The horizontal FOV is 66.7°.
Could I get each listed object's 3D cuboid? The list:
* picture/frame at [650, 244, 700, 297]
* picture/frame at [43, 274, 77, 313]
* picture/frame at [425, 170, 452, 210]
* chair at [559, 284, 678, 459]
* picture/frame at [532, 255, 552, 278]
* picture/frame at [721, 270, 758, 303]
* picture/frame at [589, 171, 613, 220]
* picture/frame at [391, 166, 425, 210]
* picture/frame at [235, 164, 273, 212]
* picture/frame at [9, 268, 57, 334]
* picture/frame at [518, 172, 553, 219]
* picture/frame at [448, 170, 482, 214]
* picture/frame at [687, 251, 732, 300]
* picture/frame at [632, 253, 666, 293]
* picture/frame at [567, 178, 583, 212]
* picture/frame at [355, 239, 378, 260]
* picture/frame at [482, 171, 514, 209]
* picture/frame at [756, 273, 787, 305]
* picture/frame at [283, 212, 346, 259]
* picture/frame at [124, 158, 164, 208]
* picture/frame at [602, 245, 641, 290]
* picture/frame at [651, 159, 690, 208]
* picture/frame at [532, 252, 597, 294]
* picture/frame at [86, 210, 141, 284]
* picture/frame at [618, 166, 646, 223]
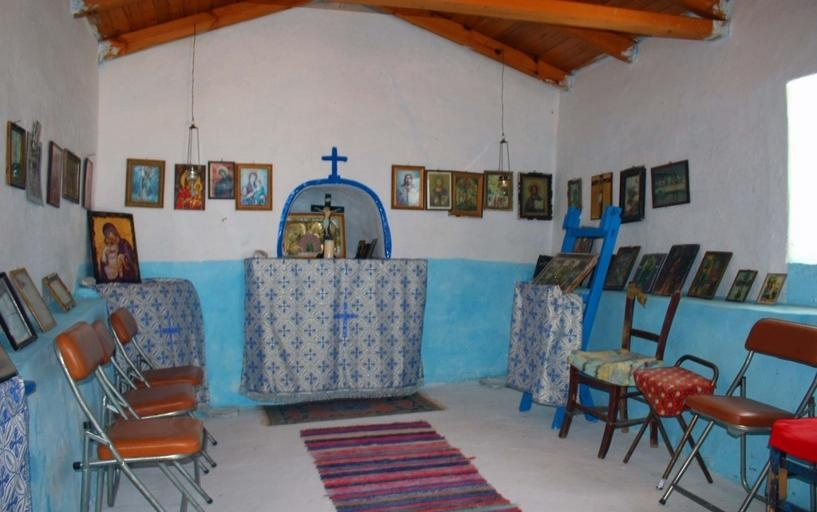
[{"bbox_3d":[2.779,0.162,6.396,0.069,0.697,0.498,28,-3,-14],"label":"picture/frame"},{"bbox_3d":[-3.080,0.325,5.438,0.042,0.256,0.218,-21,36,10],"label":"picture/frame"},{"bbox_3d":[0.359,-0.820,7.722,0.443,0.642,0.061,2,1,-17],"label":"picture/frame"},{"bbox_3d":[2.067,1.096,6.128,0.900,1.529,0.890,1,2,-3],"label":"chair"},{"bbox_3d":[1.669,0.091,7.748,0.104,0.309,0.283,23,4,-13],"label":"picture/frame"},{"bbox_3d":[3.180,0.284,5.909,0.025,0.392,0.274,26,-7,-25],"label":"picture/frame"},{"bbox_3d":[2.302,-0.710,7.382,0.106,0.579,0.374,-4,13,-18],"label":"picture/frame"},{"bbox_3d":[-0.024,-0.839,7.632,0.490,0.626,0.040,1,-1,-21],"label":"picture/frame"},{"bbox_3d":[-1.813,-0.789,7.159,0.489,0.701,0.071,1,2,-20],"label":"picture/frame"},{"bbox_3d":[-2.906,0.348,4.764,0.032,0.456,0.388,-28,23,-3],"label":"picture/frame"},{"bbox_3d":[1.629,-0.788,8.037,0.552,0.791,0.076,0,1,-20],"label":"picture/frame"},{"bbox_3d":[0.696,-0.806,7.806,0.502,0.608,0.059,1,-2,-26],"label":"picture/frame"},{"bbox_3d":[3.008,0.193,6.136,0.039,0.580,0.413,25,1,-14],"label":"picture/frame"},{"bbox_3d":[2.594,0.184,6.620,0.054,0.553,0.392,33,-21,-26],"label":"picture/frame"},{"bbox_3d":[2.086,-0.802,7.782,0.075,0.365,0.335,-4,13,-17],"label":"picture/frame"},{"bbox_3d":[-0.560,-0.088,8.167,0.142,0.195,0.486,5,0,-16],"label":"picture/frame"},{"bbox_3d":[1.130,-0.848,7.912,0.444,0.591,0.059,-1,3,-22],"label":"picture/frame"},{"bbox_3d":[3.349,0.290,5.700,0.213,0.285,0.143,7,14,31],"label":"picture/frame"},{"bbox_3d":[-1.259,-0.266,8.010,0.590,0.533,0.062,2,-16,-14],"label":"picture/frame"},{"bbox_3d":[-2.962,-0.811,6.865,0.502,0.715,0.067,1,-2,-25],"label":"picture/frame"},{"bbox_3d":[2.365,0.131,6.820,0.061,0.642,0.456,23,-6,-20],"label":"picture/frame"},{"bbox_3d":[2.803,-0.767,6.568,0.035,0.449,0.479,-4,-5,-28],"label":"picture/frame"},{"bbox_3d":[1.690,0.217,6.630,0.714,0.162,0.748,-17,31,30],"label":"picture/frame"},{"bbox_3d":[-3.102,-0.101,6.533,0.510,0.750,0.408,-10,16,-40],"label":"picture/frame"},{"bbox_3d":[2.514,-0.698,6.969,0.129,0.629,0.388,-8,14,-33],"label":"picture/frame"}]
